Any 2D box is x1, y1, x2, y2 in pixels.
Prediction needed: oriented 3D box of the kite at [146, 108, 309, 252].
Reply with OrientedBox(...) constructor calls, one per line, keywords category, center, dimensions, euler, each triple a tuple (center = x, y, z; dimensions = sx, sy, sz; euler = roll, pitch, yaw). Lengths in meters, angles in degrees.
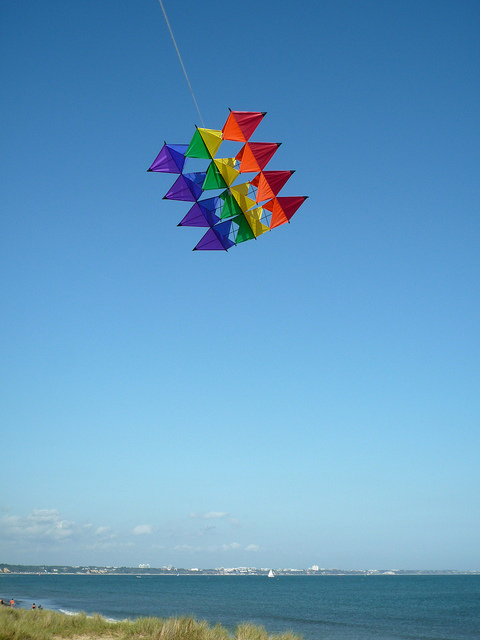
OrientedBox(category="kite", center=(-0.380, -6.083, 34.341), dimensions=(4.985, 3.420, 4.518), euler=(-6, -29, 14))
